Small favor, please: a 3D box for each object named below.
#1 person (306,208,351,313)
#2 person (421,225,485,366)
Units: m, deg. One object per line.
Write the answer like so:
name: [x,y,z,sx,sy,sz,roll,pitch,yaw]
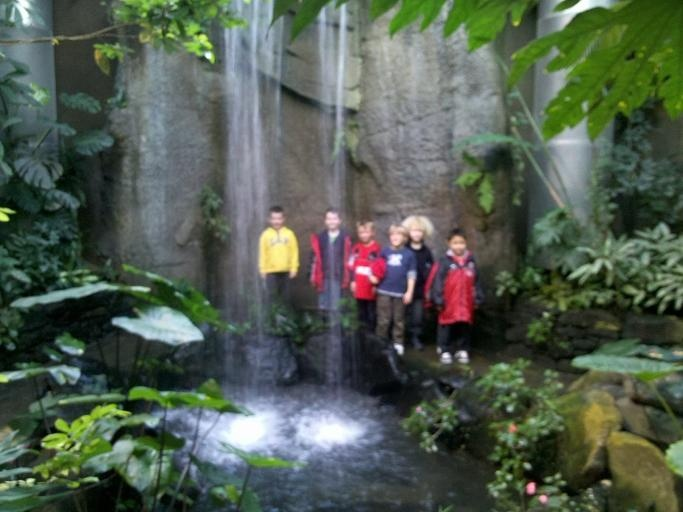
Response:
person: [-0.140,0.219,8.469,0.574,1.197,0.572,-1,5,6]
person: [1.440,0.503,7.661,0.646,1.670,0.464,-3,5,-13]
